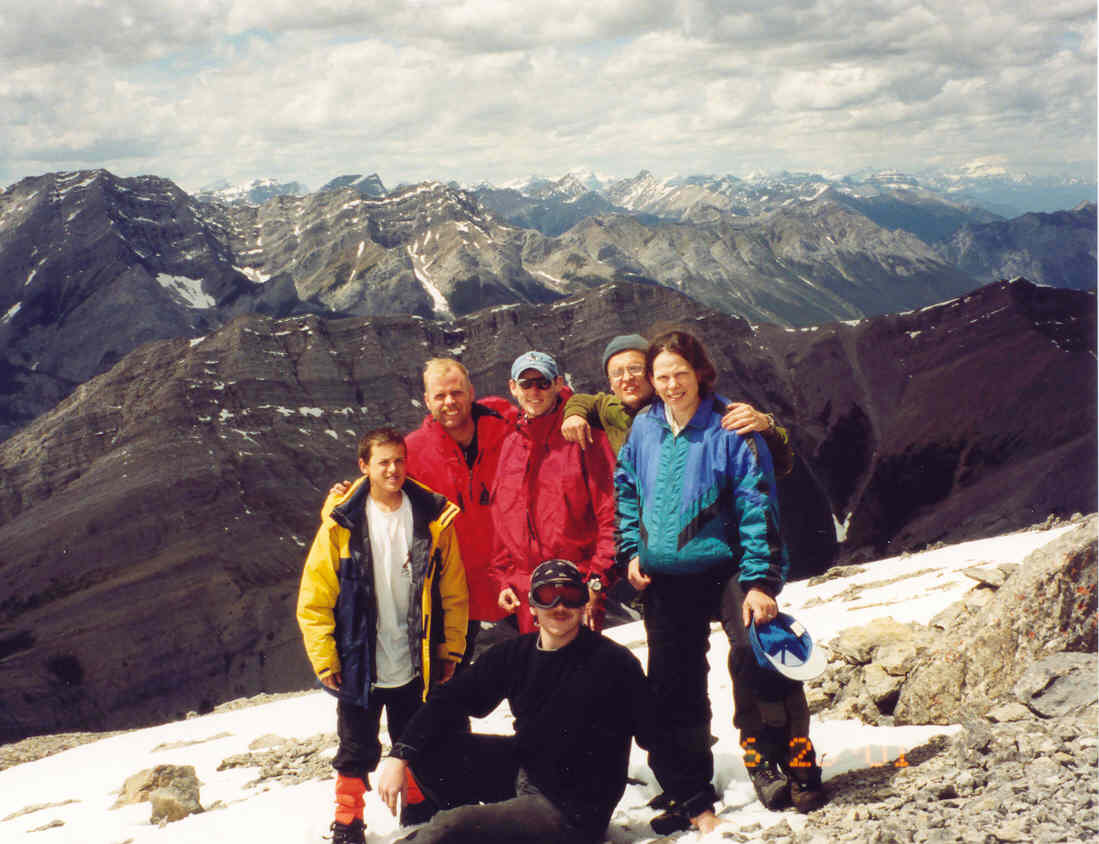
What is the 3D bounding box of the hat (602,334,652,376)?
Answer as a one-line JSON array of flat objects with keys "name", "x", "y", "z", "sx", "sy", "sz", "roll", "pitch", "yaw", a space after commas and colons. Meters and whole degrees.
[{"name": "hat", "x": 1.168, "y": -1.010, "z": 15.332, "sx": 0.553, "sy": 0.355, "sz": 0.551, "roll": 0, "pitch": 15, "yaw": 37}]
